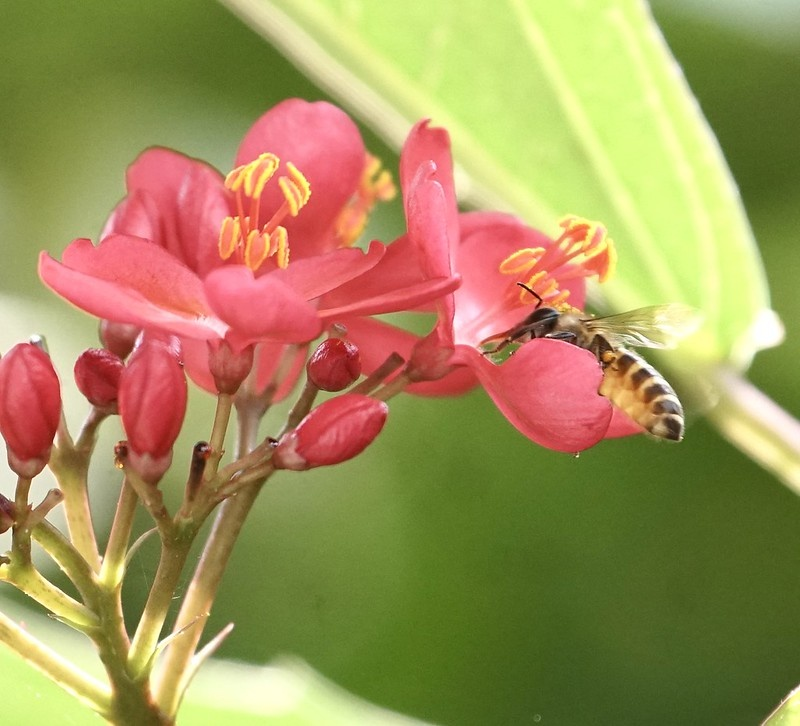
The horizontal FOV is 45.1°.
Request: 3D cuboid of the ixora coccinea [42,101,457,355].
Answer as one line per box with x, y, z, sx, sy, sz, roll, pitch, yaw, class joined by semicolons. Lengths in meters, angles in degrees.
-0.173;-0.133;1.046;0.451;0.176;0.304;-7;13;-19;ixora coccinea
